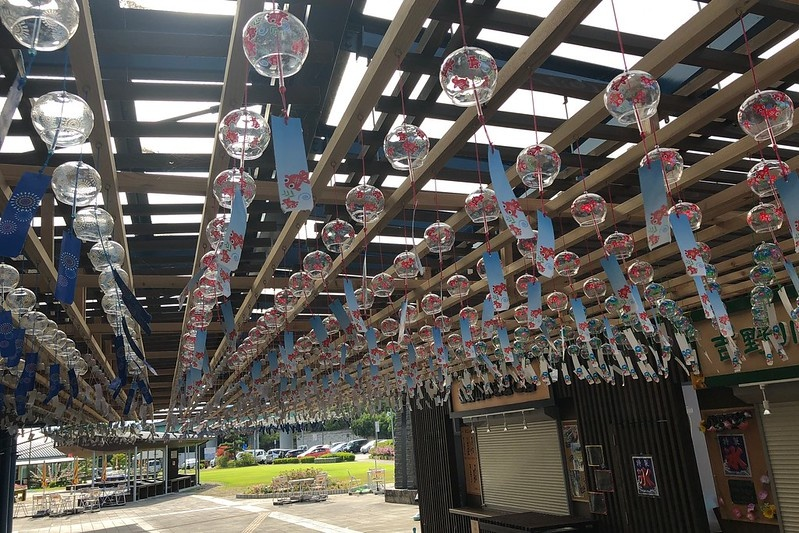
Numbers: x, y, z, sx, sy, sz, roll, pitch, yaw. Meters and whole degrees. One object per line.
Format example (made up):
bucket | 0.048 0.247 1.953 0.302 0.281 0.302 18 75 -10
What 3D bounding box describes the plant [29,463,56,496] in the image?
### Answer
plant | -25.285 14.822 39.507 1.454 1.841 6.884 9 -24 -31
